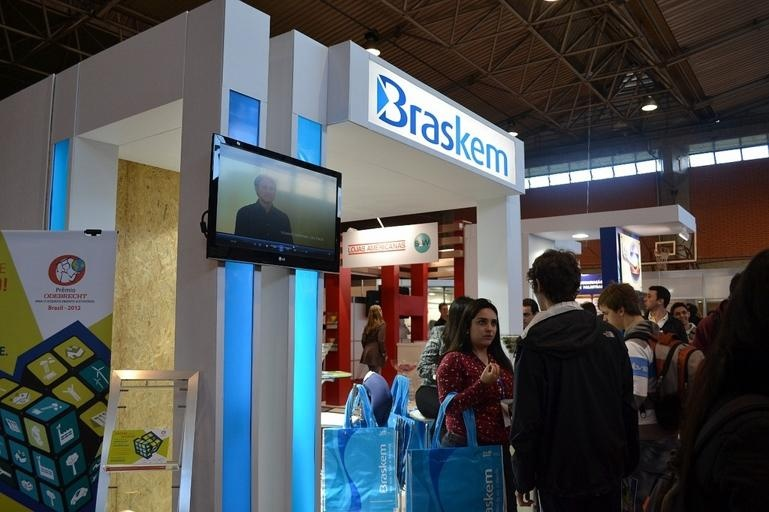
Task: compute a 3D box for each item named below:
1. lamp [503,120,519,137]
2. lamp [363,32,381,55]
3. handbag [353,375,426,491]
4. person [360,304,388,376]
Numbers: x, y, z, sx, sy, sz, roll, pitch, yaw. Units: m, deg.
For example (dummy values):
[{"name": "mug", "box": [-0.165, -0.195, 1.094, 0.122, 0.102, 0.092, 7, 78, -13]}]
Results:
[{"name": "lamp", "box": [3.625, -3.618, 17.589, 0.396, 0.353, 1.365, -5, -5, 17]}, {"name": "lamp", "box": [-0.229, -3.817, 11.126, 0.292, 0.354, 0.591, -3, -5, -1]}, {"name": "handbag", "box": [0.144, 1.343, 5.152, 0.601, 1.073, 0.913, 1, -10, -17]}, {"name": "person", "box": [-0.194, 1.317, 9.728, 0.403, 1.064, 0.521, -3, -5, -4]}]
